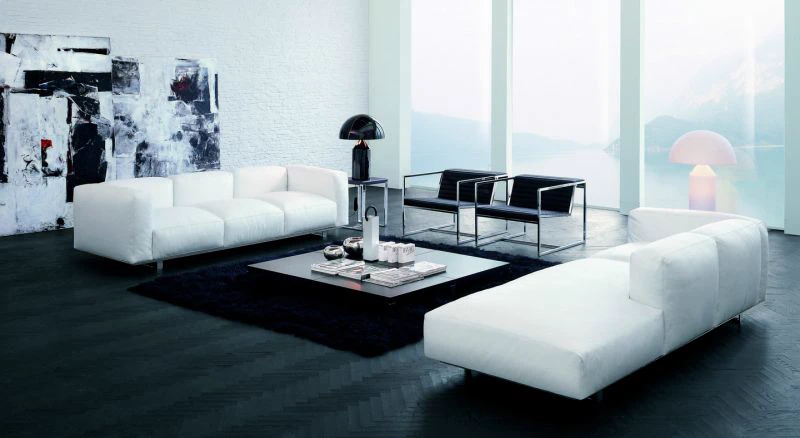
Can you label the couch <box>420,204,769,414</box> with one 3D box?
[{"bbox_3d":[1.970,0.713,4.853,3.252,1.302,1.257,-6,15,-33],"label":"couch"}]
